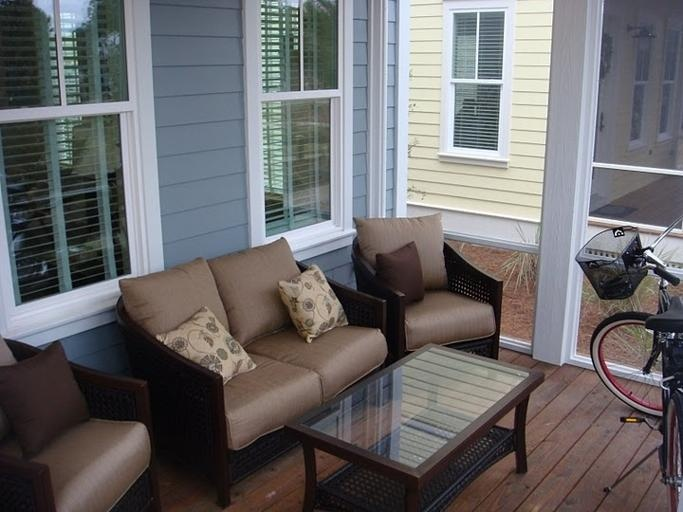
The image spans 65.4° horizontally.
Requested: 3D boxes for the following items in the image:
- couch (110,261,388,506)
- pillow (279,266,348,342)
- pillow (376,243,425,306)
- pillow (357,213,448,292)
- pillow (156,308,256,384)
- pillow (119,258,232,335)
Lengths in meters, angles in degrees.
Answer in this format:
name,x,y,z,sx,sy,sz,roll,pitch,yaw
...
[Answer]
name,x,y,z,sx,sy,sz,roll,pitch,yaw
couch,-0.561,0.537,3.323,1.228,1.249,1.754,12,22,34
pillow,-0.197,0.318,3.485,0.131,0.433,0.433,-28,-3,33
pillow,0.420,0.144,3.863,0.381,0.400,0.213,-17,8,-43
pillow,0.478,-0.011,4.156,0.772,0.624,0.289,-3,10,-24
pillow,-0.757,0.521,2.990,0.339,0.362,0.423,7,20,29
pillow,-0.987,0.246,3.085,0.198,0.334,0.384,-10,8,36
